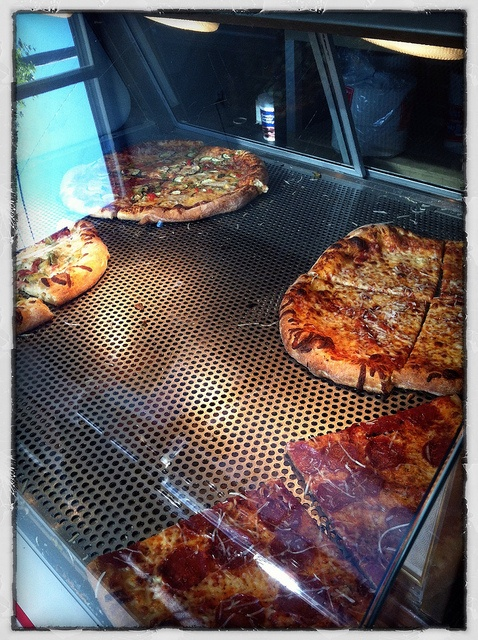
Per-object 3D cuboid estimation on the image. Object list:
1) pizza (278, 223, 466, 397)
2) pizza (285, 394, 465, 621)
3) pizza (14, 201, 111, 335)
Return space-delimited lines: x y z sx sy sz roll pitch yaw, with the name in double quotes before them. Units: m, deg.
"pizza" 0.243 -0.036 0.862 0.332 0.153 0.353 8 38 24
"pizza" 0.257 0.252 0.718 0.031 0.325 0.402 28 30 12
"pizza" -0.384 -0.101 1.000 0.167 0.035 0.238 23 45 16
